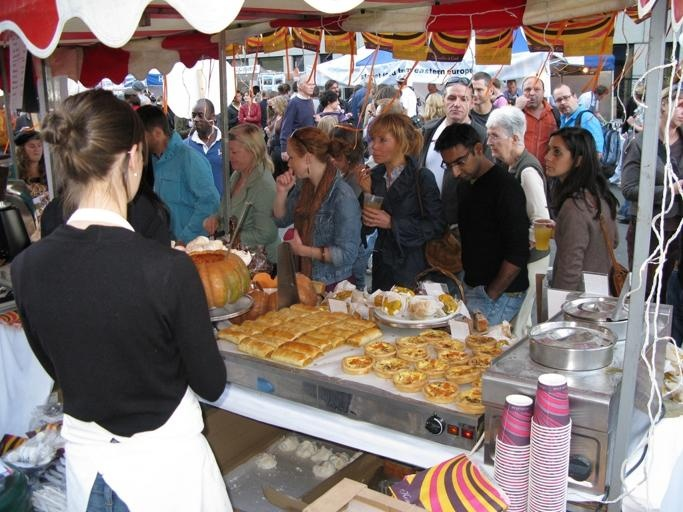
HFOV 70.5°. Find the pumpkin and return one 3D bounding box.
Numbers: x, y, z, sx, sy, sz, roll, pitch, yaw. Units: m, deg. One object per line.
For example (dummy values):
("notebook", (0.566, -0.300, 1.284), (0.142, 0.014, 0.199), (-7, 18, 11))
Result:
("pumpkin", (-0.615, 0.093, 2.512), (0.276, 0.291, 0.283), (-11, 19, -44))
